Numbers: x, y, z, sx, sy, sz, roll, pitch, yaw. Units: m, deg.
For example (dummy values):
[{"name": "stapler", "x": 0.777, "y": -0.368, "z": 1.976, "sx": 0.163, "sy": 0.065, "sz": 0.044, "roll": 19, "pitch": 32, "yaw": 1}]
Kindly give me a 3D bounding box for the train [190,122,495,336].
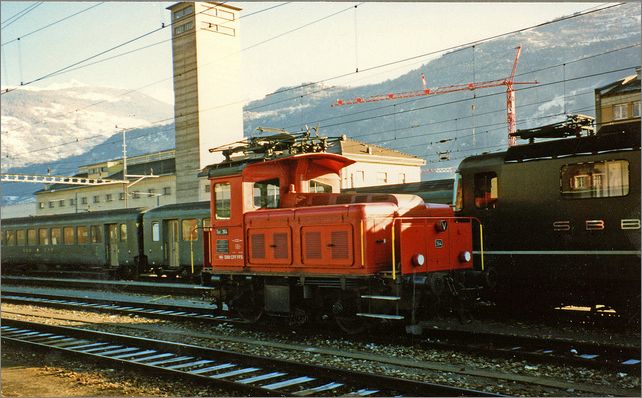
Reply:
[{"name": "train", "x": 0.214, "y": 1.400, "z": 30.595, "sx": 11.602, "sy": 6.702, "sz": 6.942, "roll": -3, "pitch": -3, "yaw": 35}]
